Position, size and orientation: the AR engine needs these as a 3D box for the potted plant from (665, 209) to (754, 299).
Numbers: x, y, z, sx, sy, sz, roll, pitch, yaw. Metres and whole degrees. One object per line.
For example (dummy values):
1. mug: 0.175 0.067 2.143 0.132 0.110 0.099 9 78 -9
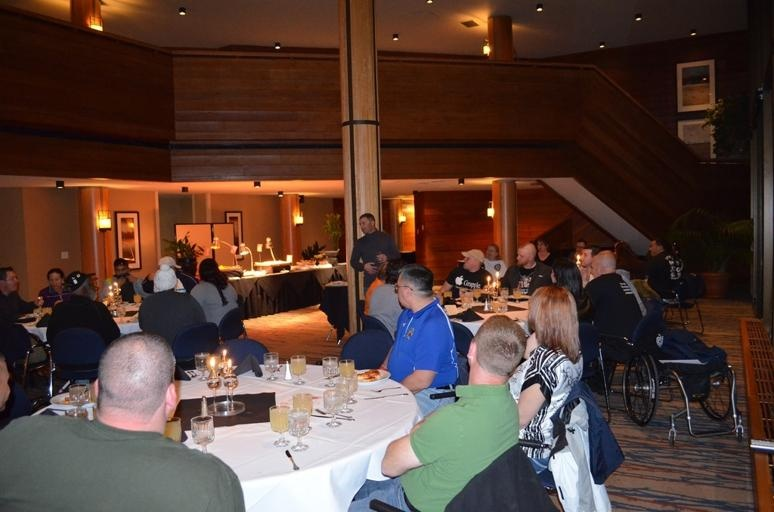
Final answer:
1. potted plant: 6.287 -0.106 11.694 1.653 1.842 1.367 -1 -8 1

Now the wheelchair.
1. wheelchair: 2.964 1.091 6.035 0.911 1.277 1.317 -4 -4 7

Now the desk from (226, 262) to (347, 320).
1. desk: -2.110 0.727 12.500 0.560 0.749 3.207 3 4 26

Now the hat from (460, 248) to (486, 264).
1. hat: 1.237 0.002 8.173 0.384 0.203 0.260 11 1 -8

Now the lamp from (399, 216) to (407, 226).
1. lamp: 0.520 -1.186 19.911 0.246 0.257 0.254 1 -7 4

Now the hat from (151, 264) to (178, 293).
1. hat: -2.507 0.271 6.682 0.257 0.229 0.402 -7 21 -6

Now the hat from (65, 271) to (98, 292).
1. hat: -3.814 0.317 7.438 0.270 0.145 0.197 -28 19 -35

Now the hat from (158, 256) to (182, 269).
1. hat: -3.141 0.084 8.639 0.221 0.170 0.320 5 10 29
